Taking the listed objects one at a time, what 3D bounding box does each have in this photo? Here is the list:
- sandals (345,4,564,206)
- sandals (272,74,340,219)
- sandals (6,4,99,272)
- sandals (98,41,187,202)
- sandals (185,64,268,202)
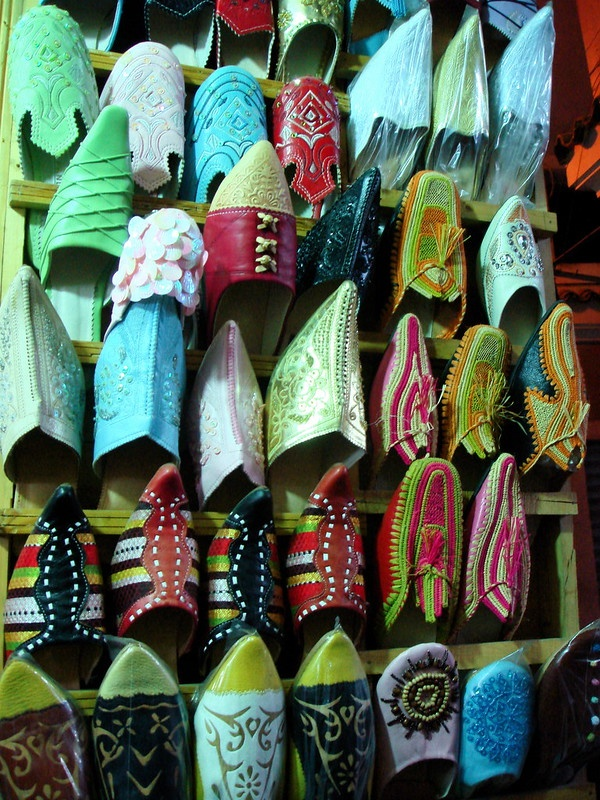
[{"bbox_3d":[0.332,-0.589,1.531,0.334,0.488,0.138,8,-1,-9],"label":"sandals"},{"bbox_3d":[0.008,-0.480,1.339,0.101,0.307,0.123,-1,1,-3],"label":"sandals"},{"bbox_3d":[-0.404,-0.460,1.241,0.149,0.465,0.140,-1,3,-7],"label":"sandals"},{"bbox_3d":[-0.258,-0.499,1.260,0.111,0.330,0.116,1,5,-9],"label":"sandals"},{"bbox_3d":[-0.126,-0.486,1.311,0.108,0.325,0.111,2,1,-12],"label":"sandals"}]
